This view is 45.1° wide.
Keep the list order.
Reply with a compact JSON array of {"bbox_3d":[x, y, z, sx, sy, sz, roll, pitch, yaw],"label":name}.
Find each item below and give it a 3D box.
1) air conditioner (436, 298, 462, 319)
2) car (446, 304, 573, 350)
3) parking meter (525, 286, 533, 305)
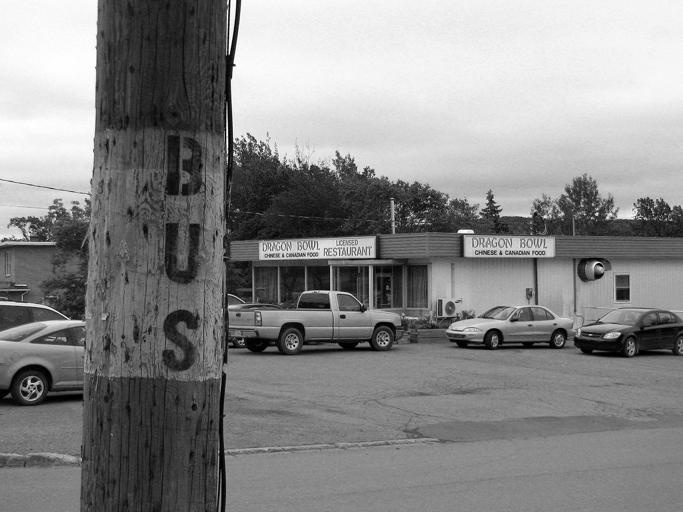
[{"bbox_3d":[4.798,2.435,36.933,1.200,1.130,0.753,3,-5,-43],"label":"air conditioner"},{"bbox_3d":[6.001,2.692,29.989,3.637,1.450,1.898,4,-6,-24],"label":"car"},{"bbox_3d":[8.971,1.945,39.173,0.361,0.576,0.624,1,-1,17],"label":"parking meter"}]
